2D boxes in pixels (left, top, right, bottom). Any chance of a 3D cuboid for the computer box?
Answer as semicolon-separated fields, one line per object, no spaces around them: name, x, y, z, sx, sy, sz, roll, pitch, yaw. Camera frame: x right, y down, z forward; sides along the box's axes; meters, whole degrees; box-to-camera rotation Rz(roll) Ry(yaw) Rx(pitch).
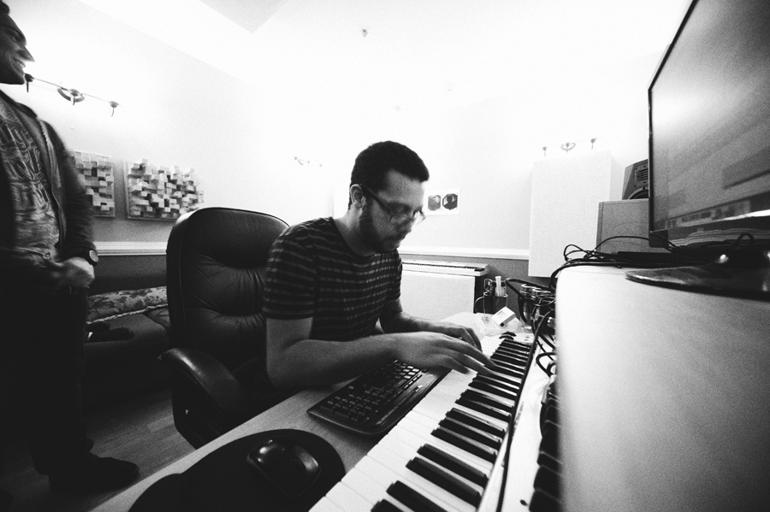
computer box;1.534;-0.265;3.136;0.297;0.432;0.254;1;50;30

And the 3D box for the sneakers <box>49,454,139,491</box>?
sneakers;-1.759;1.331;3.083;0.432;0.238;0.096;11;18;-7

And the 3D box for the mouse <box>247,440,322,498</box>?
mouse;-0.485;0.982;2.336;0.092;0.399;0.299;-32;44;10
